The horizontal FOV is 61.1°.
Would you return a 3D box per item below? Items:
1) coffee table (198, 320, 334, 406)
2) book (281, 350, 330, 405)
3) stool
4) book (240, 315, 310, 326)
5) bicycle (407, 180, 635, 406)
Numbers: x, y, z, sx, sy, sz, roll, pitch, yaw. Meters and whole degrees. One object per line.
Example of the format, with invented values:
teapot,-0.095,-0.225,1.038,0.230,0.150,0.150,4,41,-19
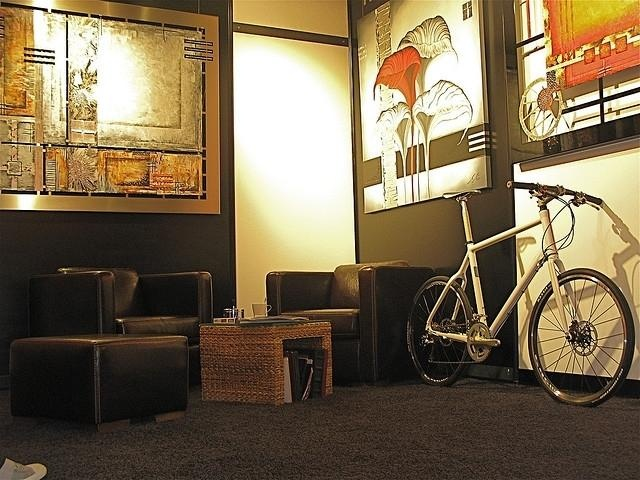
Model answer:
coffee table,-0.373,0.695,3.554,0.571,0.470,0.599,-6,-9,35
book,-0.090,0.884,3.495,0.260,0.303,0.067,-3,-17,0
stool,-1.121,0.636,2.906,0.559,0.417,0.590,-3,-8,30
book,-0.285,0.517,3.460,0.416,0.047,0.218,1,-5,-33
bicycle,1.539,0.461,3.804,0.822,1.252,1.673,7,-9,-31
